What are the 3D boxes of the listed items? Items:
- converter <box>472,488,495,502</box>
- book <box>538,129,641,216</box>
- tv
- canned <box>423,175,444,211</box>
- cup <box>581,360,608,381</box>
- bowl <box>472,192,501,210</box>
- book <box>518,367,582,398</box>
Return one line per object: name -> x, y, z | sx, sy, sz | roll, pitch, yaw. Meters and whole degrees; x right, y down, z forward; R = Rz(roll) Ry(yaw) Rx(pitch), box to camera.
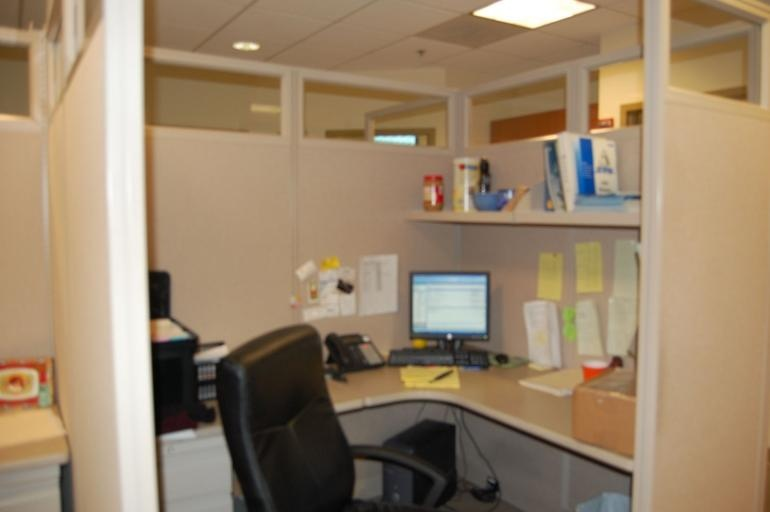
converter -> 0.517, 1.240, 3.104 | 0.093, 0.032, 0.068 | 2, 11, -13
book -> 0.805, -0.325, 2.406 | 0.358, 0.423, 0.300 | -5, 7, -16
tv -> 0.321, 0.262, 2.950 | 0.399, 0.325, 0.036 | 0, 2, 4
canned -> 0.244, -0.311, 2.976 | 0.095, 0.169, 0.120 | 1, 12, 0
cup -> 0.889, 0.471, 2.543 | 0.122, 0.097, 0.134 | -1, -6, 3
bowl -> 0.475, -0.246, 2.760 | 0.087, 0.065, 0.094 | 0, -4, 0
book -> 0.739, 0.546, 2.573 | 0.161, 0.021, 0.146 | -5, 7, -34
